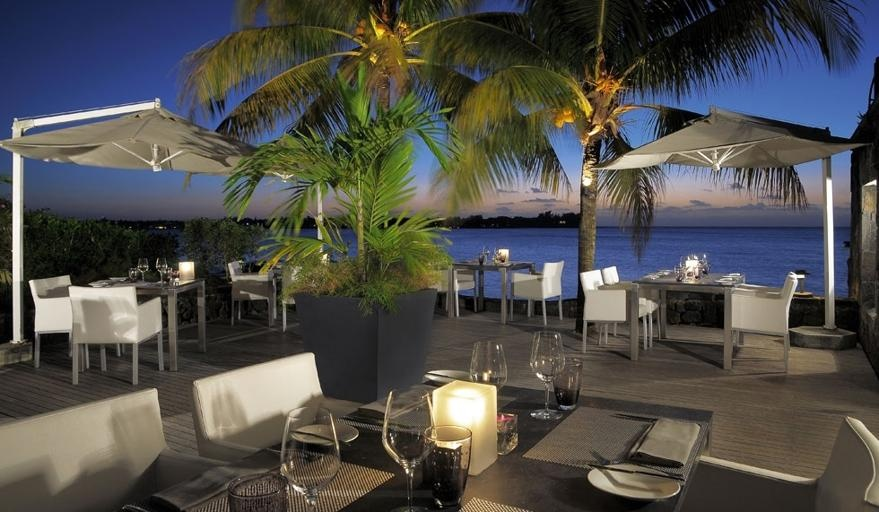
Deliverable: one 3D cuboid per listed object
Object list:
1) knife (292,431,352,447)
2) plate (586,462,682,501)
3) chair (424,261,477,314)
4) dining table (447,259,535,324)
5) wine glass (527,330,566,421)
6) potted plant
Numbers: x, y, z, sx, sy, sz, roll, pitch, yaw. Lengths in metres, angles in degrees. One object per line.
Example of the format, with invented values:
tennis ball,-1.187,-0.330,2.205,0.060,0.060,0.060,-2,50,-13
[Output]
knife,-0.701,1.063,3.348,0.202,0.031,0.205,2,-2,-1
plate,1.169,1.356,3.434,0.538,0.171,0.145,0,2,2
chair,0.237,0.557,10.846,0.862,0.949,0.866,3,2,44
dining table,0.936,0.698,10.583,1.227,0.958,1.256,1,2,27
wine glass,0.758,0.799,4.008,0.218,0.641,0.237,1,0,7
potted plant,-0.729,0.880,6.312,1.601,1.620,1.044,-1,-1,0
